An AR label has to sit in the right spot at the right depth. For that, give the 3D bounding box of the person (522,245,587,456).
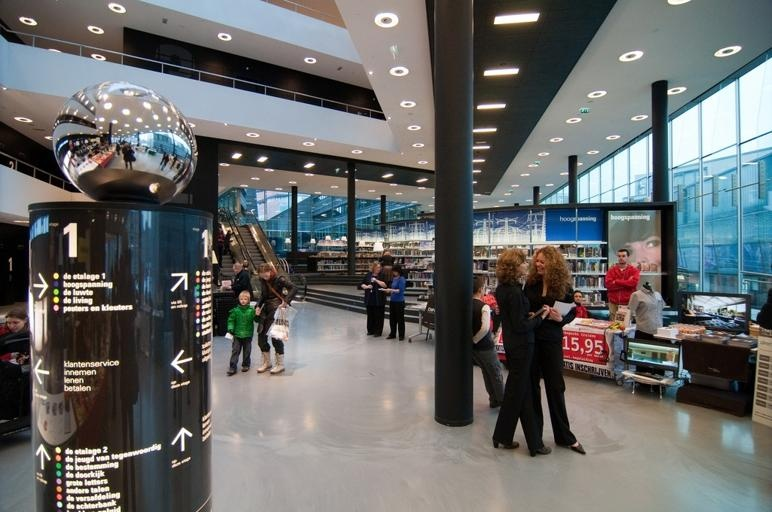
[{"bbox_3d":[1.980,1.120,6.630,0.794,2.509,0.762,-6,-15,43],"label":"person"}]

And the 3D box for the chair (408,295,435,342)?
[{"bbox_3d":[0.688,1.451,11.790,0.517,0.764,0.501,-10,-14,-41],"label":"chair"}]

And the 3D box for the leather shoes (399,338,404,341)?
[{"bbox_3d":[0.331,1.773,11.447,0.096,0.071,0.148,-1,0,-5],"label":"leather shoes"}]

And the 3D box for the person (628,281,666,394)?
[{"bbox_3d":[4.267,0.898,8.822,0.502,1.071,0.515,-1,0,25],"label":"person"}]

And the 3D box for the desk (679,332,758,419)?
[{"bbox_3d":[4.960,1.758,8.005,0.922,0.927,0.996,4,1,-38],"label":"desk"}]

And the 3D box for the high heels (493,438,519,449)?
[{"bbox_3d":[1.496,2.382,6.700,0.346,0.140,0.126,-2,0,-2],"label":"high heels"}]

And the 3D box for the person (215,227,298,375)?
[{"bbox_3d":[-2.137,1.075,9.405,1.043,1.939,1.135,-1,0,-14],"label":"person"}]

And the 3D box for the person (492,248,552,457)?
[{"bbox_3d":[1.643,1.185,6.635,0.675,2.237,0.352,-1,0,10],"label":"person"}]

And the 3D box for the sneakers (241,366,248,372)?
[{"bbox_3d":[-2.443,1.950,9.252,0.100,0.050,0.157,1,-1,-4],"label":"sneakers"}]
